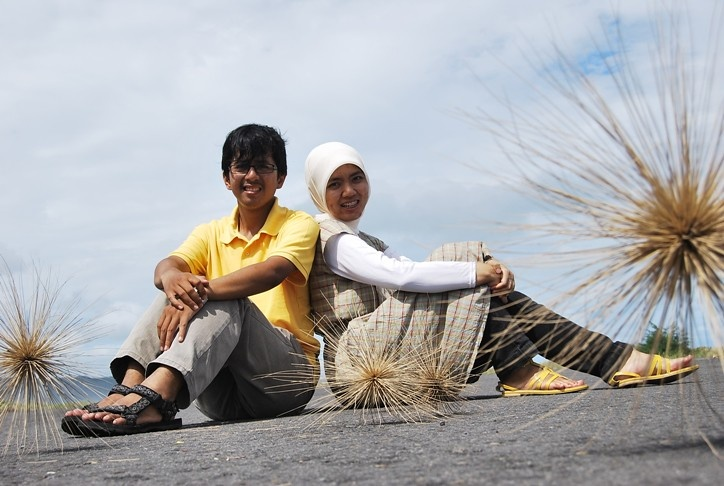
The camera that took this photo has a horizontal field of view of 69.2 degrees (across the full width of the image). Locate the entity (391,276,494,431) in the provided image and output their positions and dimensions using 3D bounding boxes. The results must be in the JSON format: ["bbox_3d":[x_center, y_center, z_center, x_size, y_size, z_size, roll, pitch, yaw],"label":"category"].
[{"bbox_3d":[0.385,0.555,2.648,0.400,0.674,0.244,-4,-28,29],"label":"entity"}]

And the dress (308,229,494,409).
[{"bbox_3d":[0.239,0.337,3.148,1.148,1.201,0.846,-9,-11,10],"label":"dress"}]

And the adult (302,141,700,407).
[{"bbox_3d":[0.771,0.204,3.296,2.318,1.540,1.022,-2,-7,-5],"label":"adult"}]

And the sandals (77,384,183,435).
[{"bbox_3d":[-1.063,0.778,2.432,0.368,0.156,0.183,10,-18,-31],"label":"sandals"}]

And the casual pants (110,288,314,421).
[{"bbox_3d":[-0.669,0.640,3.037,0.693,0.628,1.250,-14,-21,38],"label":"casual pants"}]

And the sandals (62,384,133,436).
[{"bbox_3d":[-1.193,0.795,2.472,0.409,0.162,0.147,13,-13,-33],"label":"sandals"}]

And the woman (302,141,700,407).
[{"bbox_3d":[0.764,0.193,3.275,2.275,1.550,0.933,-4,-10,-5],"label":"woman"}]

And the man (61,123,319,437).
[{"bbox_3d":[-0.850,0.143,2.909,0.901,1.649,1.555,-5,-11,23],"label":"man"}]

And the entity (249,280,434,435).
[{"bbox_3d":[0.012,0.558,2.585,0.666,0.414,0.831,19,7,21],"label":"entity"}]

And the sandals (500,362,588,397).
[{"bbox_3d":[1.012,0.796,3.038,0.501,0.209,0.220,-7,-8,15],"label":"sandals"}]
